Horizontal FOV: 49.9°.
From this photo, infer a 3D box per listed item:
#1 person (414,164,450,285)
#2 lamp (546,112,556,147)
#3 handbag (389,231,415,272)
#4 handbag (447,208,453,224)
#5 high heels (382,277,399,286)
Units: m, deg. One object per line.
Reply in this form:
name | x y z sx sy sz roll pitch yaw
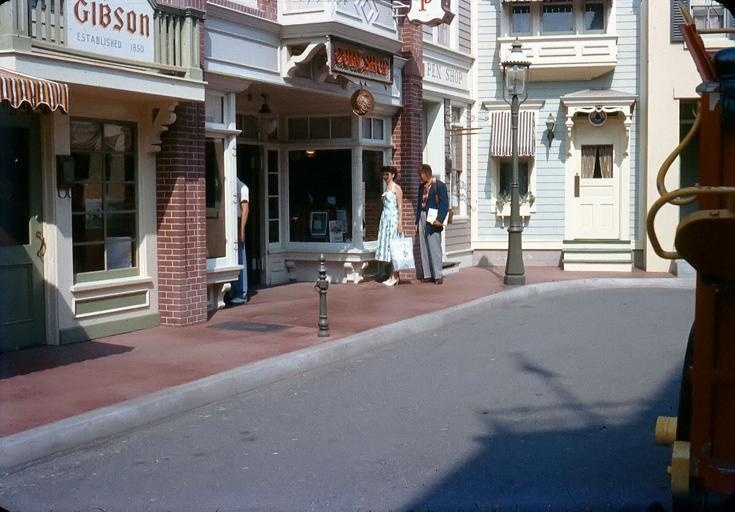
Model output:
person | 1.386 -0.680 16.928 0.460 2.550 0.817 -6 7 -42
lamp | 4.768 -3.237 20.593 0.262 0.849 0.371 -1 5 13
handbag | 0.712 -0.067 16.445 0.608 0.890 0.281 -9 -3 -19
handbag | 1.799 -0.872 17.239 0.166 0.370 0.356 0 4 8
high heels | 0.550 0.537 16.712 0.174 0.120 0.265 1 2 37
